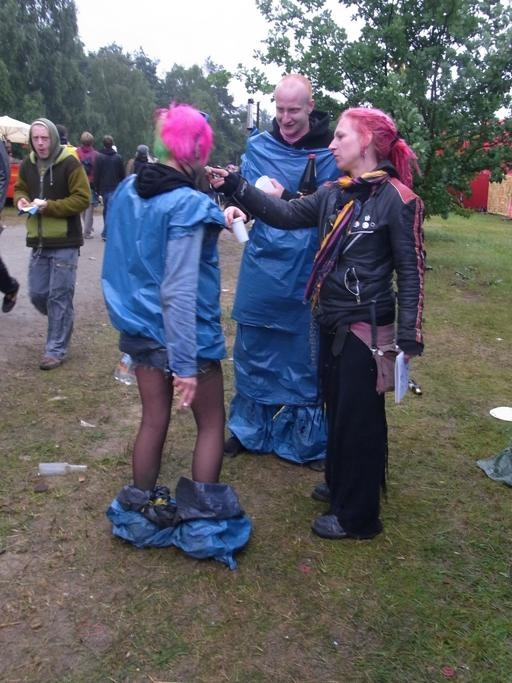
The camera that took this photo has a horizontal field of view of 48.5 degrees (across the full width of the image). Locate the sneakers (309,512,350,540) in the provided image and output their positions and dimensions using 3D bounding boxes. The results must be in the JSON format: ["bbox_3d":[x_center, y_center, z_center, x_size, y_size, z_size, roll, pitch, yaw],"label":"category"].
[{"bbox_3d":[0.329,0.821,2.563,0.173,0.069,0.079,12,25,0],"label":"sneakers"}]

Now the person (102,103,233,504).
[{"bbox_3d":[-0.354,0.016,2.205,0.508,1.367,0.429,2,11,-9],"label":"person"}]

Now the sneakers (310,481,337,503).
[{"bbox_3d":[0.330,0.770,2.929,0.076,0.073,0.115,8,9,9],"label":"sneakers"}]

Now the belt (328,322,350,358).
[{"bbox_3d":[0.346,-0.007,2.376,0.043,0.150,0.009,16,-17,38],"label":"belt"}]

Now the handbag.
[{"bbox_3d":[0.495,0.071,2.372,0.237,0.266,0.114,-4,8,-44],"label":"handbag"}]

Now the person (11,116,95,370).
[{"bbox_3d":[-1.615,-0.732,4.455,0.561,1.852,0.477,2,11,-8],"label":"person"}]
